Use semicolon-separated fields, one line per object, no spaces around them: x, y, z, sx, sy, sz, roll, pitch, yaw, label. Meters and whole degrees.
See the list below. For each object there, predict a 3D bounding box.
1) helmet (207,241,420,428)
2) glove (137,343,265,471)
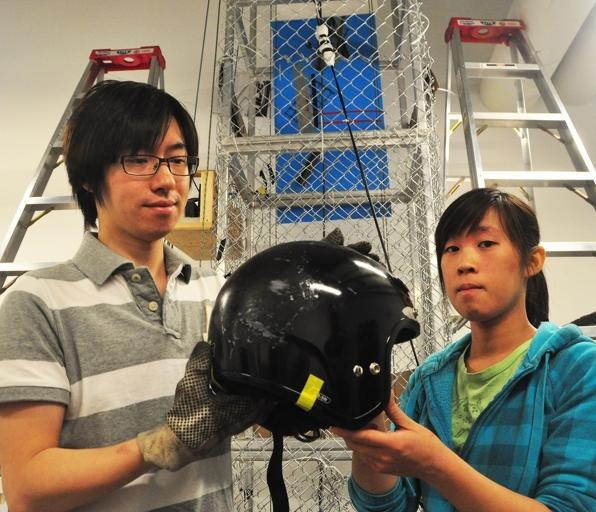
0.015;0.158;1.045;0.357;0.279;0.259;-6;-23;-5;helmet
-0.155;0.252;0.986;0.181;0.198;0.147;31;-7;3;glove
